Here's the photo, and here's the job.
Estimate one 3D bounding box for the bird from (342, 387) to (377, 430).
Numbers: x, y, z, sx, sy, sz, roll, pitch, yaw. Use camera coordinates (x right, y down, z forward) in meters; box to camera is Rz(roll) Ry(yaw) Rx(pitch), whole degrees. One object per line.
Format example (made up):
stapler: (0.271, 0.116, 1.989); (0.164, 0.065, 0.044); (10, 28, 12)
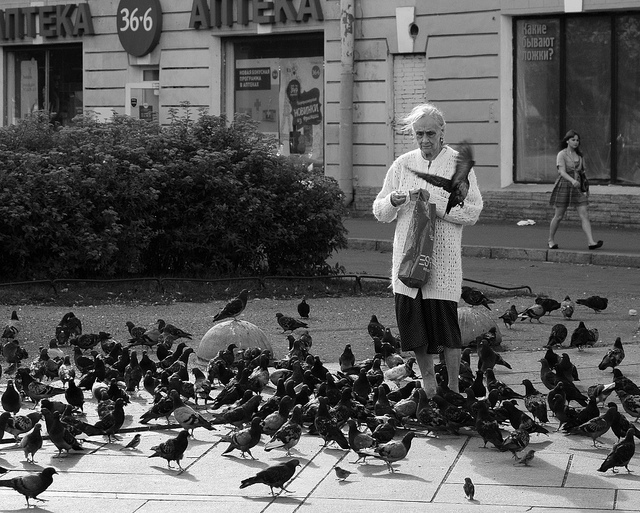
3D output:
bird: (0.408, 1.634, 15.009); (0.190, 0.441, 0.556); (-12, 1, -33)

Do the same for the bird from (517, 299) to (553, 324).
bird: (3.006, 0.773, 19.709); (0.518, 0.283, 0.429); (0, 5, -15)

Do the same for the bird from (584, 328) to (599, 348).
bird: (3.473, 1.025, 17.969); (0.137, 0.207, 0.276); (6, 18, 32)

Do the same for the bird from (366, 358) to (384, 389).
bird: (0.610, 1.374, 16.116); (0.111, 0.229, 0.341); (8, -24, 0)

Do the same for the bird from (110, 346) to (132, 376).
bird: (-2.368, 1.229, 16.952); (0.339, 0.372, 0.151); (-10, 9, -34)

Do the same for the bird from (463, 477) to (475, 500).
bird: (1.410, 2.224, 13.552); (0.101, 0.187, 0.157); (1, 4, 5)

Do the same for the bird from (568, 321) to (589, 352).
bird: (3.238, 1.009, 17.760); (0.238, 0.358, 0.279); (2, 4, 10)

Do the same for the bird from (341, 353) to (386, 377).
bird: (0.526, 1.284, 16.718); (0.526, 0.375, 0.194); (-3, 1, -11)

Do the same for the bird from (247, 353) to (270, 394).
bird: (-0.728, 1.397, 16.084); (0.300, 0.283, 0.109); (-12, 7, -15)

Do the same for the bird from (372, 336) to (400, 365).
bird: (0.753, 1.119, 17.410); (0.156, 0.213, 0.294); (-19, -22, 34)

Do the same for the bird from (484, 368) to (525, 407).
bird: (2.003, 1.466, 15.575); (0.489, 0.418, 0.188); (6, 7, 14)

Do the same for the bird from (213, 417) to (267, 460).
bird: (-0.838, 1.868, 14.484); (0.548, 0.425, 0.180); (-1, 2, 13)

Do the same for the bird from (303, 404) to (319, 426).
bird: (-0.116, 1.682, 14.928); (0.070, 0.195, 0.135); (22, -8, -32)

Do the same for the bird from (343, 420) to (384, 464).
bird: (0.470, 1.905, 14.460); (0.516, 0.446, 0.210); (5, 0, -8)

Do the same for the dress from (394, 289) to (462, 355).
dress: (1.145, 0.691, 15.106); (0.616, 0.920, 0.395); (-1, -8, -17)

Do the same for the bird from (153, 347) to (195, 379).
bird: (-1.739, 1.271, 16.739); (0.466, 0.352, 0.160); (-11, 14, -17)

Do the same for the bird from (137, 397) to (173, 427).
bird: (-1.767, 1.660, 15.195); (0.412, 0.313, 0.107); (3, 5, 26)

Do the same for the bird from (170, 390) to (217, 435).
bird: (-1.375, 1.688, 14.991); (0.542, 0.479, 0.206); (8, 24, 8)

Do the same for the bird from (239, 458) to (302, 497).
bird: (-0.484, 2.134, 13.769); (0.581, 0.377, 0.250); (4, 3, -7)

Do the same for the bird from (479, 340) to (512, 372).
bird: (2.002, 1.172, 16.634); (0.290, 0.333, 0.558); (4, 5, 37)

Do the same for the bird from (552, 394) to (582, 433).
bird: (2.645, 1.670, 15.106); (0.540, 0.404, 0.197); (-1, 6, -41)

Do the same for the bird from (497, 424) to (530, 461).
bird: (1.967, 1.877, 14.335); (0.341, 0.423, 0.191); (19, -17, -30)

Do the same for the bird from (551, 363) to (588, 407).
bird: (2.735, 1.431, 15.547); (0.414, 0.519, 0.236); (2, 15, 1)

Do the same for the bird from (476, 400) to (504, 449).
bird: (1.734, 1.730, 14.576); (0.276, 0.411, 0.469); (1, 4, 4)

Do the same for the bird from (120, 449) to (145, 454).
bird: (-1.919, 2.005, 14.596); (0.171, 0.060, 0.061); (3, -6, 2)

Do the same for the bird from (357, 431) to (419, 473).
bird: (0.675, 1.939, 14.205); (0.586, 0.448, 0.197); (4, 19, -4)

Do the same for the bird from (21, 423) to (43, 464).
bird: (-2.938, 1.908, 14.427); (0.253, 0.357, 0.241); (-2, 5, -34)

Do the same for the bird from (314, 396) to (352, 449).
bird: (0.114, 1.740, 14.647); (0.214, 0.483, 0.727); (-3, 5, -28)

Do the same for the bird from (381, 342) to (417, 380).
bird: (0.914, 1.224, 16.902); (0.516, 0.367, 0.248); (20, 36, -6)

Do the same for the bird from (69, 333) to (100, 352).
bird: (-3.009, 1.093, 18.049); (0.318, 0.199, 0.172); (-14, 5, -11)

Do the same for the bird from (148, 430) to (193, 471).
bird: (-1.534, 1.958, 14.270); (0.435, 0.411, 0.226); (0, -4, 21)

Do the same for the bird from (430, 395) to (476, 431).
bird: (1.434, 1.659, 14.909); (0.597, 0.410, 0.218); (-1, 6, -9)

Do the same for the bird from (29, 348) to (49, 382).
bird: (-3.356, 1.311, 16.741); (0.186, 0.435, 0.293); (1, -3, 35)

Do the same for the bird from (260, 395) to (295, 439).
bird: (-0.481, 1.695, 14.849); (0.476, 0.535, 0.212); (4, 19, 18)

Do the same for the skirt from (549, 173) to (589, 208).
skirt: (4.504, -1.135, 25.717); (0.780, 0.826, 0.533); (2, -1, 5)

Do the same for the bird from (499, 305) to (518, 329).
bird: (2.543, 0.834, 19.232); (0.216, 0.285, 0.311); (1, 4, 4)

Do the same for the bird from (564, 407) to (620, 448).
bird: (2.796, 1.754, 14.695); (0.555, 0.446, 0.204); (2, 13, 20)

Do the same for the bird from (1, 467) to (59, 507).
bird: (-2.769, 2.212, 13.581); (0.613, 0.397, 0.235); (6, 4, 3)

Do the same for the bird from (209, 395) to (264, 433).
bird: (-0.925, 1.653, 15.060); (0.519, 0.463, 0.204); (6, 10, 6)

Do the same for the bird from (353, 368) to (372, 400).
bird: (0.454, 1.461, 15.657); (0.199, 0.302, 0.415); (4, -19, 0)
